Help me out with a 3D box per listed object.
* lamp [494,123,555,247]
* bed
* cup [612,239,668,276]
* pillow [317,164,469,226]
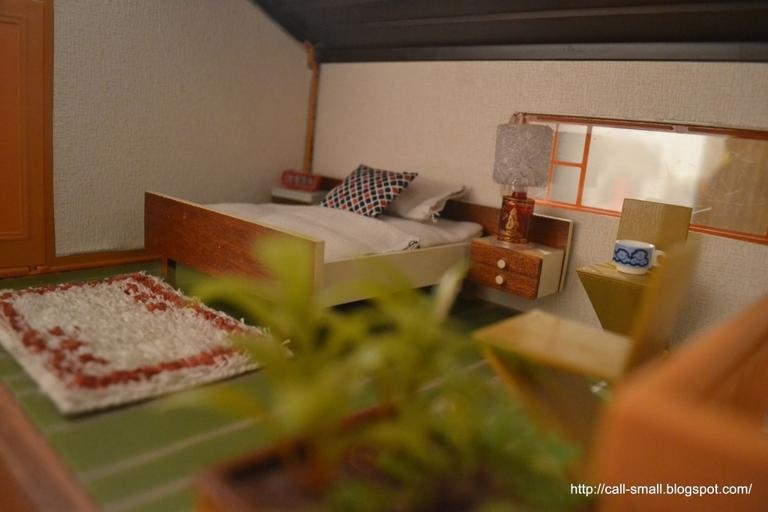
[{"bbox_3d":[0.826,-0.436,3.009,0.228,0.688,0.399,-11,19,-42],"label":"lamp"},{"bbox_3d":[-0.263,-0.063,3.023,1.295,0.375,1.236,-10,22,-41],"label":"bed"},{"bbox_3d":[0.639,0.011,1.257,0.131,0.063,0.085,6,5,25],"label":"cup"},{"bbox_3d":[0.057,-0.421,3.488,0.654,0.176,0.524,12,42,24],"label":"pillow"}]
